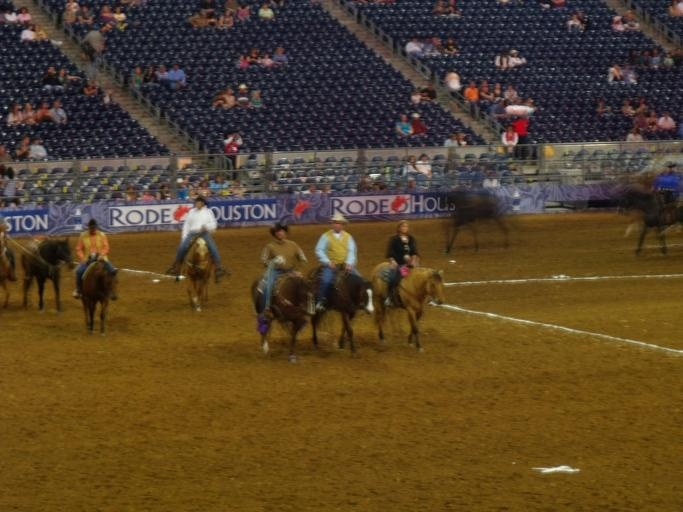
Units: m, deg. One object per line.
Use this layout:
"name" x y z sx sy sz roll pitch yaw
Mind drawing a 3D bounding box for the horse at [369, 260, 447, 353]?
"horse" 1.349 1.117 21.290 1.481 1.835 1.894 2 5 -1

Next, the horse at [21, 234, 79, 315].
"horse" -7.290 0.547 23.963 0.736 1.780 1.966 -5 8 -45

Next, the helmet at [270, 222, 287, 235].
"helmet" -1.371 -0.500 20.863 0.373 0.263 0.370 1 5 -3

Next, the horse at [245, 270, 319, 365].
"horse" -1.220 1.284 21.341 0.997 1.771 3.433 -4 7 -22

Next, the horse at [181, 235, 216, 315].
"horse" -3.514 0.519 24.226 0.684 1.848 0.961 -1 7 -25
